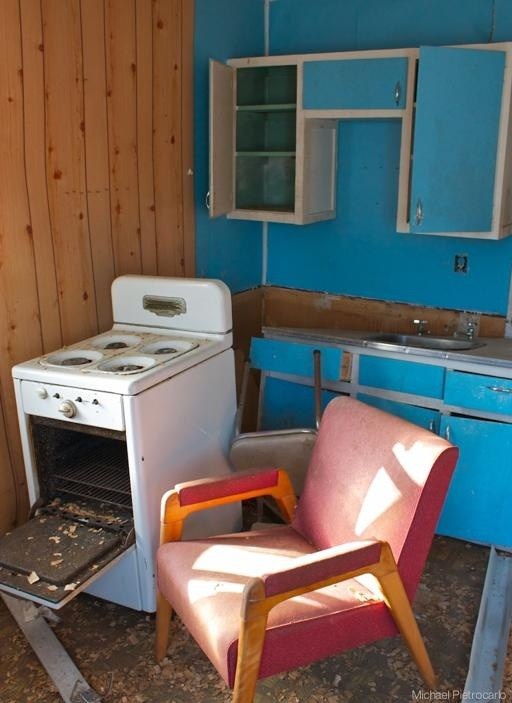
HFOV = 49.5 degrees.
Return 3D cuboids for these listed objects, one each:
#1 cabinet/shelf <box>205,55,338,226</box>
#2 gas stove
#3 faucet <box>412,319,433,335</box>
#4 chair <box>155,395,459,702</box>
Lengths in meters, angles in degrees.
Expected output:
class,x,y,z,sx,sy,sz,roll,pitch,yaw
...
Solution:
class,x,y,z,sx,sy,sz,roll,pitch,yaw
cabinet/shelf,0.071,-1.003,2.673,0.409,0.752,0.796,6,12,31
gas stove,-0.445,0.070,1.852,0.636,0.228,0.658,-14,17,-36
faucet,0.872,-0.129,2.906,0.066,0.094,0.030,-12,14,39
chair,0.095,0.439,1.588,0.785,0.860,0.627,-10,20,-30
